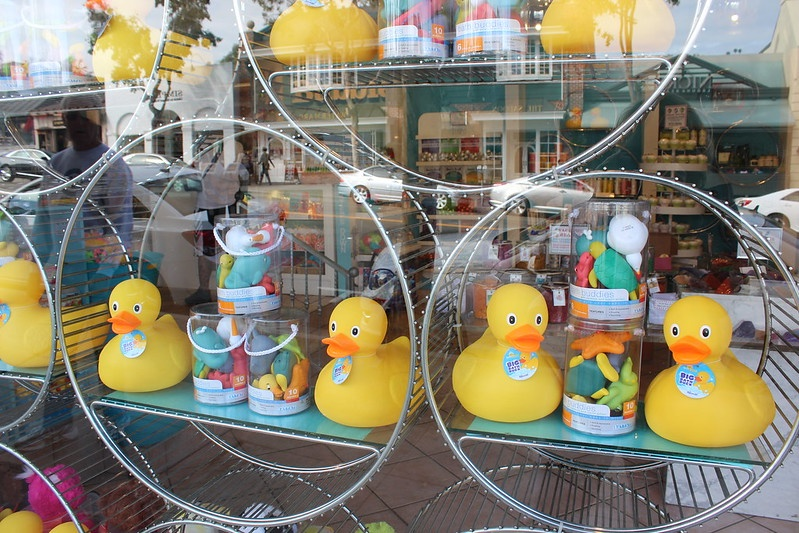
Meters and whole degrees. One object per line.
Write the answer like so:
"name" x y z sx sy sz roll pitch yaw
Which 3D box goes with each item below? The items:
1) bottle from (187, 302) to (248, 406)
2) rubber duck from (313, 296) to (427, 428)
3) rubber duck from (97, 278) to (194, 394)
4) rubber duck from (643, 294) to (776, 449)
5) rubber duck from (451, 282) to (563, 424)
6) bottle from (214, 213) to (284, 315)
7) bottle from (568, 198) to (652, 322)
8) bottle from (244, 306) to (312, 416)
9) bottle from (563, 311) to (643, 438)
"bottle" -0.548 0.287 1.662 0.194 0.256 0.181 -2 -2 0
"rubber duck" -0.077 0.257 1.588 0.303 0.321 0.378 6 12 33
"rubber duck" -0.780 0.221 1.798 0.284 0.323 0.364 -1 2 1
"rubber duck" 0.815 0.247 1.416 0.301 0.355 0.386 0 10 38
"rubber duck" 0.307 0.222 1.508 0.326 0.349 0.354 0 8 -8
"bottle" -0.463 0.010 1.641 0.229 0.286 0.212 -1 -1 0
"bottle" 0.537 -0.021 1.383 0.191 0.300 0.167 3 13 21
"bottle" -0.351 0.284 1.705 0.248 0.337 0.300 1 -4 -22
"bottle" 0.537 0.287 1.440 0.197 0.306 0.207 6 -4 0
